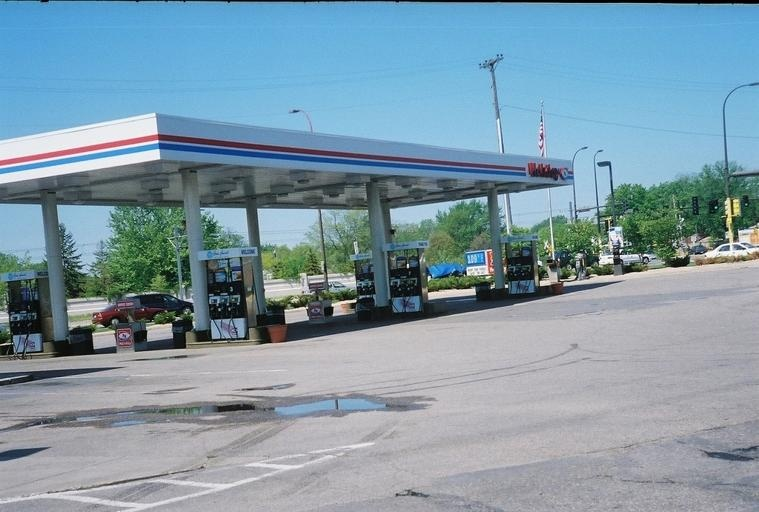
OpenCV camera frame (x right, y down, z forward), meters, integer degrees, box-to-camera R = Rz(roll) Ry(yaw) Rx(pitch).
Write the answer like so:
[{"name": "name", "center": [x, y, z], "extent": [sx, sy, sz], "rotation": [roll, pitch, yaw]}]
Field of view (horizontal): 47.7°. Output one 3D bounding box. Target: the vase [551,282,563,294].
[{"name": "vase", "center": [8.633, 1.582, 41.549], "extent": [0.558, 0.387, 0.521], "rotation": [-3, 3, -19]}]

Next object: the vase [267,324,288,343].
[{"name": "vase", "center": [-3.559, 2.697, 29.599], "extent": [0.718, 0.517, 0.559], "rotation": [0, -5, -20]}]

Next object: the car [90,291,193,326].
[{"name": "car", "center": [-13.874, 3.179, 50.485], "extent": [5.134, 1.231, 2.947], "rotation": [-3, 2, -2]}]

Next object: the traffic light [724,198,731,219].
[{"name": "traffic light", "center": [22.487, -3.059, 55.084], "extent": [0.282, 1.246, 2.089], "rotation": [-2, 2, 20]}]

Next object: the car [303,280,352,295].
[{"name": "car", "center": [-3.682, 2.257, 59.686], "extent": [2.580, 0.789, 1.103], "rotation": [-3, 4, 1]}]
